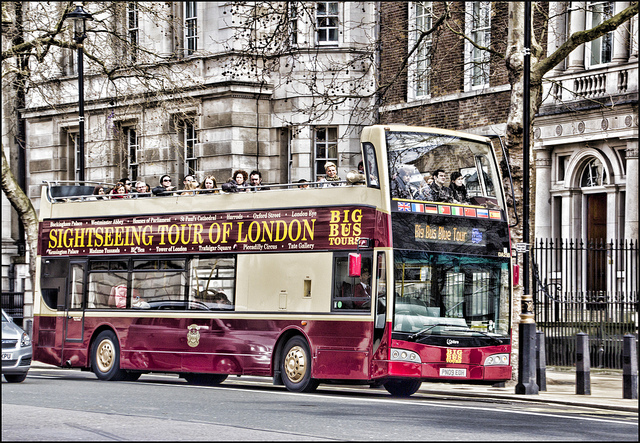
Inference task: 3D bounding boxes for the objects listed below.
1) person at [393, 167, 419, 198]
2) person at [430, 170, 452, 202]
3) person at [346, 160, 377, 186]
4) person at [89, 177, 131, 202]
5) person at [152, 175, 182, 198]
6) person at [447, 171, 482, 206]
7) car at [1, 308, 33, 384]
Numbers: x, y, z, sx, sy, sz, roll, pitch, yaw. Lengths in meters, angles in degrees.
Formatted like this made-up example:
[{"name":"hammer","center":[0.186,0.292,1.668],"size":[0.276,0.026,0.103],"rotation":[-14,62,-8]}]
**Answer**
[{"name":"person","center":[1.855,-0.787,26.614],"size":[0.443,0.666,0.270],"rotation":[-3,-24,-46]},{"name":"person","center":[2.697,-0.752,27.146],"size":[0.445,0.617,0.738],"rotation":[-9,-7,23]},{"name":"person","center":[0.943,-0.974,27.049],"size":[0.618,0.565,0.968],"rotation":[-3,-3,-7]},{"name":"person","center":[-5.306,-0.791,31.406],"size":[1.132,0.350,0.745],"rotation":[-5,-9,15]},{"name":"person","center":[-3.723,-0.708,30.496],"size":[0.802,0.412,0.992],"rotation":[1,28,-5]},{"name":"person","center":[3.168,-0.737,27.438],"size":[0.548,0.802,0.794],"rotation":[-5,-7,34]},{"name":"car","center":[-7.103,3.109,29.395],"size":[0.675,1.451,1.197],"rotation":[0,-6,-13]}]
